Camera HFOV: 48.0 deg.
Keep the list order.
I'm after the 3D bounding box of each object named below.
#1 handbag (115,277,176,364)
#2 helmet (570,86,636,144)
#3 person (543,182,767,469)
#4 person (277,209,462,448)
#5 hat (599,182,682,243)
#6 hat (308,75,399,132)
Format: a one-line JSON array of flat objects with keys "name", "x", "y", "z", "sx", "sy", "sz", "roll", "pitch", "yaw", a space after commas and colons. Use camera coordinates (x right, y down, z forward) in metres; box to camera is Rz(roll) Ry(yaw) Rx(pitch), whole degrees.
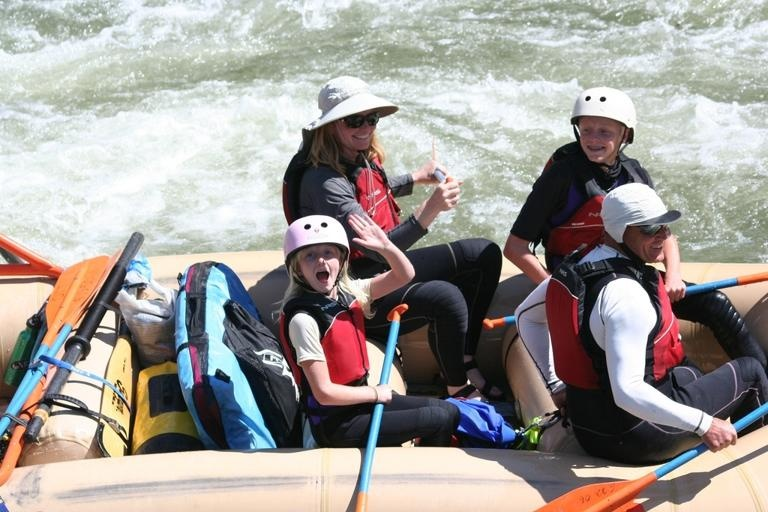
[{"name": "handbag", "x": -1.568, "y": 0.434, "z": 5.546, "sx": 0.255, "sy": 0.459, "sz": 0.341, "roll": -21, "pitch": 28, "yaw": -12}, {"name": "helmet", "x": 1.409, "y": -0.911, "z": 5.510, "sx": 0.327, "sy": 0.393, "sz": 0.404, "roll": 6, "pitch": 13, "yaw": 17}, {"name": "person", "x": 1.590, "y": 0.472, "z": 5.125, "sx": 0.998, "sy": 1.380, "sz": 0.914, "roll": -28, "pitch": 42, "yaw": -1}, {"name": "person", "x": -0.113, "y": 0.464, "z": 5.328, "sx": 0.972, "sy": 1.725, "sz": 0.815, "roll": -11, "pitch": 18, "yaw": 7}, {"name": "hat", "x": 1.428, "y": -0.266, "z": 4.779, "sx": 0.392, "sy": 0.239, "sz": 0.298, "roll": -9, "pitch": 18, "yaw": 17}, {"name": "hat", "x": -0.238, "y": -0.922, "z": 5.645, "sx": 0.456, "sy": 0.208, "sz": 0.449, "roll": -20, "pitch": 0, "yaw": -42}]
